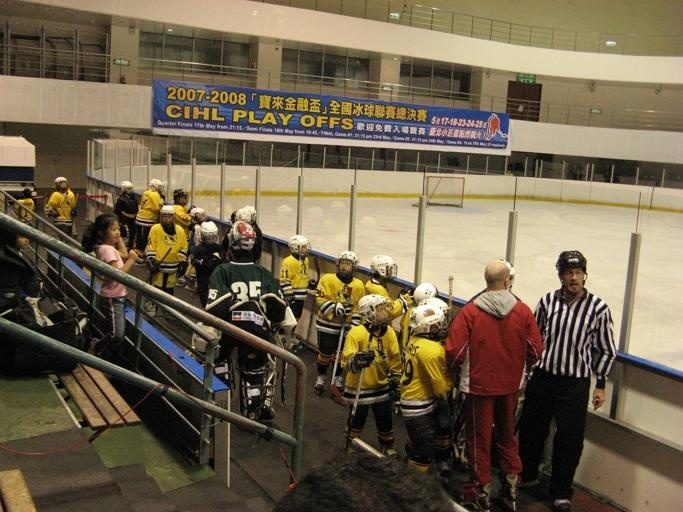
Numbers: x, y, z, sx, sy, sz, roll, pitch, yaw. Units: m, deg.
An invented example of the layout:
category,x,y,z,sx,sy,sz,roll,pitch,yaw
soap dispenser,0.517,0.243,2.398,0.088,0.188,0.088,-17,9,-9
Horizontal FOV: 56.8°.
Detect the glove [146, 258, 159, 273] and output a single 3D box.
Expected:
category,x,y,z,sx,sy,sz,roll,pitch,yaw
glove,-2.824,0.135,9.459,0.184,0.182,0.201,13,-2,-18
